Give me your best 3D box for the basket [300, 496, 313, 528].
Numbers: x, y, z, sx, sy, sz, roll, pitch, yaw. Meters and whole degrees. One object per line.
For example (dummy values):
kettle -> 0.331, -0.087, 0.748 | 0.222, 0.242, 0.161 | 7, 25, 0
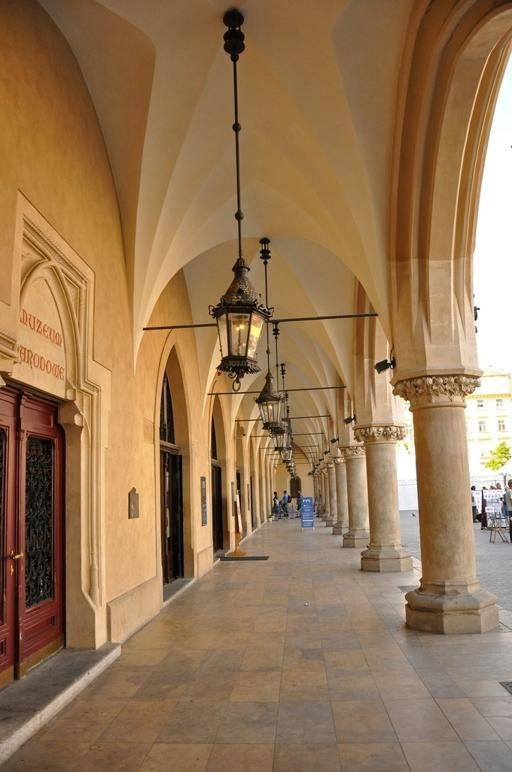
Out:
basket -> 2.525, 6.370, 25.087 | 0.558, 1.480, 0.835 | -4, -7, 2

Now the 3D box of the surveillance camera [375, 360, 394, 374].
surveillance camera -> 2.137, -0.327, 8.431 | 0.207, 0.182, 0.350 | -10, -16, 0
